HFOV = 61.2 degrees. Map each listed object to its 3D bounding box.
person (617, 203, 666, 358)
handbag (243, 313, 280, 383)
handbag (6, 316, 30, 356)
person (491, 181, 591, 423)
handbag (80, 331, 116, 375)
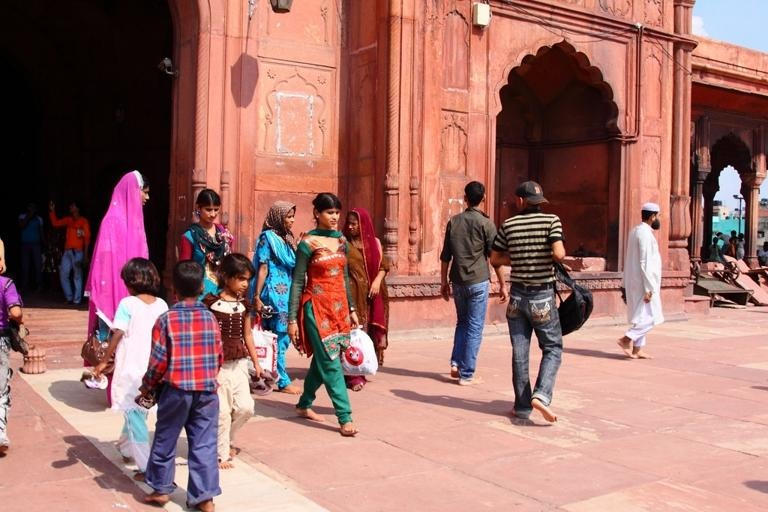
[{"bbox_3d":[3.668,0.340,9.214,0.542,2.153,0.610,3,5,22],"label":"person"},{"bbox_3d":[-1.213,0.898,6.525,0.472,0.731,0.251,2,14,28],"label":"handbag"},{"bbox_3d":[-2.969,0.655,5.332,0.091,0.279,0.181,-12,17,-43],"label":"handbag"},{"bbox_3d":[1.501,0.450,6.326,0.931,2.314,0.685,2,5,9],"label":"person"},{"bbox_3d":[-2.541,0.808,5.872,0.405,0.454,0.211,9,5,34],"label":"handbag"}]
